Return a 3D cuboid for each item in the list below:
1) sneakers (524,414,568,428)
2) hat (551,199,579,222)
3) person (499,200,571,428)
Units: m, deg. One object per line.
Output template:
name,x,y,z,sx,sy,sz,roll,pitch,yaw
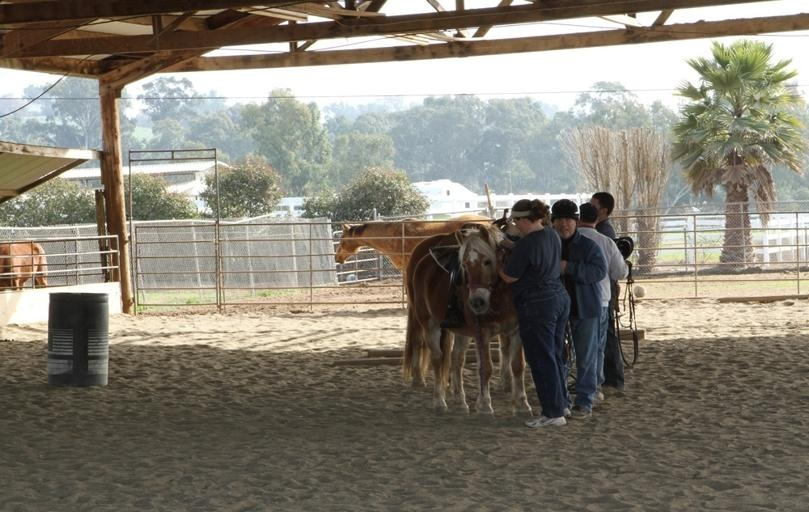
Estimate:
sneakers,2.217,2.609,17.097,0.643,0.276,0.225,3,-5,-1
hat,2.529,-0.732,17.118,0.295,0.344,0.380,1,-17,6
person,2.075,0.910,17.006,0.940,3.538,0.545,1,11,9
